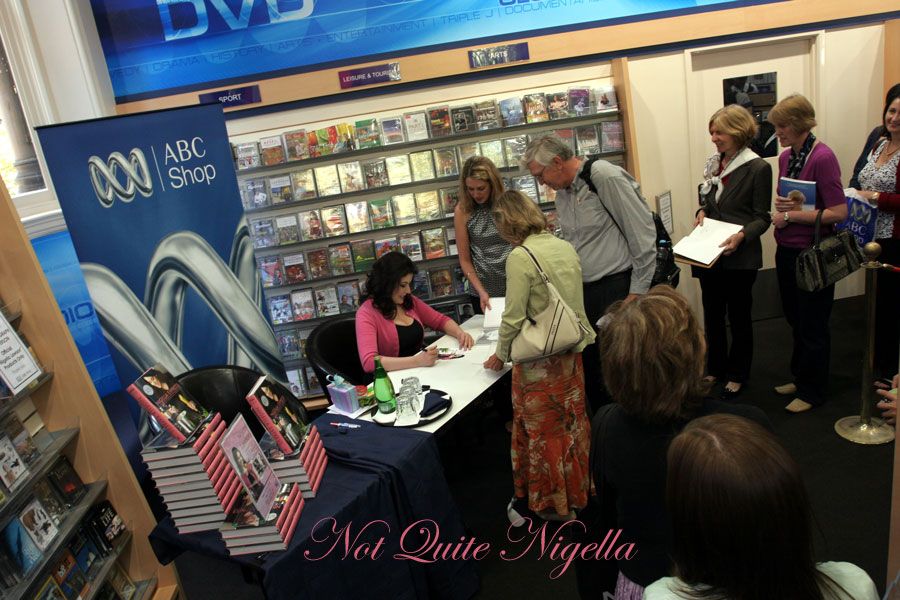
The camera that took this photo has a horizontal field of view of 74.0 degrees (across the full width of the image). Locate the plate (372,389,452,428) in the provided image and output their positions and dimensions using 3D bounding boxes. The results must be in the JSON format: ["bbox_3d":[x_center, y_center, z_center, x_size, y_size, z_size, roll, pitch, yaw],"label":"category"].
[{"bbox_3d":[-0.164,0.628,3.377,0.243,0.028,0.252,-7,16,-14],"label":"plate"}]

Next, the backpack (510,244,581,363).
[{"bbox_3d":[0.522,0.020,3.349,0.422,0.545,0.214,-27,8,13],"label":"backpack"}]

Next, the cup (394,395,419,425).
[{"bbox_3d":[-0.236,0.615,3.388,0.148,0.151,0.119,0,6,13],"label":"cup"}]

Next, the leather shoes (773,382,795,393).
[{"bbox_3d":[2.607,0.673,4.673,0.130,0.055,0.075,6,35,-1],"label":"leather shoes"}]

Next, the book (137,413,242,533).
[{"bbox_3d":[-1.181,0.846,2.902,0.372,0.516,0.284,-1,21,23],"label":"book"}]

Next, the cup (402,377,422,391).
[{"bbox_3d":[-0.220,0.476,3.476,0.089,0.093,0.090,-1,2,0],"label":"cup"}]

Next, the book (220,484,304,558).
[{"bbox_3d":[-0.846,1.044,2.757,0.268,0.101,0.283,-3,13,2],"label":"book"}]

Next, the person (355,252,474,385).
[{"bbox_3d":[-0.271,0.122,4.317,0.554,1.013,0.588,5,27,21],"label":"person"}]

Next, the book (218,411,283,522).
[{"bbox_3d":[-0.946,0.811,2.854,0.048,0.476,0.366,-22,20,13],"label":"book"}]

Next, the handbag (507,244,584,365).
[{"bbox_3d":[0.485,0.006,3.397,0.498,0.658,0.242,-15,4,30],"label":"handbag"}]

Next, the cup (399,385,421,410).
[{"bbox_3d":[-0.228,0.561,3.464,0.123,0.123,0.127,-1,-1,0],"label":"cup"}]

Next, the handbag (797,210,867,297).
[{"bbox_3d":[2.633,-0.356,4.154,0.473,0.461,0.202,-28,14,-17],"label":"handbag"}]

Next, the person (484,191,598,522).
[{"bbox_3d":[0.543,0.329,3.688,0.837,1.997,0.871,-5,8,-1],"label":"person"}]

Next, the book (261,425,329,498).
[{"bbox_3d":[-0.775,0.809,3.038,0.257,0.184,0.388,-2,9,9],"label":"book"}]

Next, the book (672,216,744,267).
[{"bbox_3d":[1.874,-0.427,4.379,0.396,0.096,0.412,-43,35,-1],"label":"book"}]

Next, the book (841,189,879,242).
[{"bbox_3d":[2.946,-0.623,4.300,0.093,0.333,0.287,-34,44,-3],"label":"book"}]
